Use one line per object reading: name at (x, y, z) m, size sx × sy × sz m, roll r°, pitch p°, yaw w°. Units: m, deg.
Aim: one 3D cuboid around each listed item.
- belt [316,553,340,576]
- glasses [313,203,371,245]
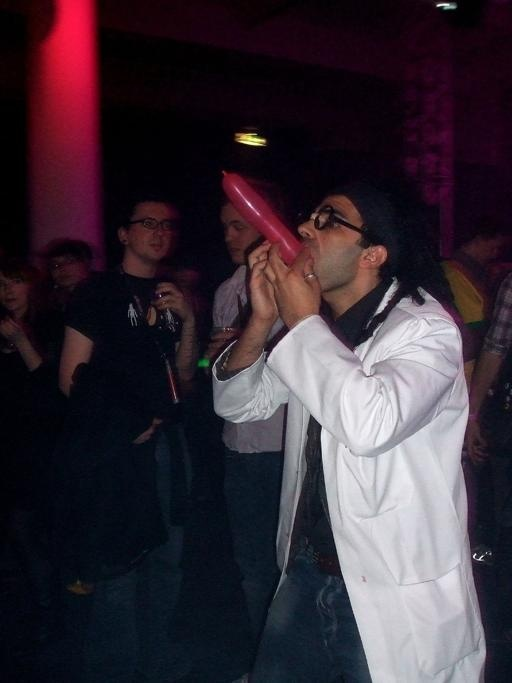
belt at (0.225, 0.704, 2.016) m, size 0.023 × 0.044 × 0.066 m, roll 4°, pitch 3°, yaw -41°
glasses at (0.293, -0.386, 2.269) m, size 0.175 × 0.051 × 0.157 m, roll 20°, pitch 0°, yaw -19°
